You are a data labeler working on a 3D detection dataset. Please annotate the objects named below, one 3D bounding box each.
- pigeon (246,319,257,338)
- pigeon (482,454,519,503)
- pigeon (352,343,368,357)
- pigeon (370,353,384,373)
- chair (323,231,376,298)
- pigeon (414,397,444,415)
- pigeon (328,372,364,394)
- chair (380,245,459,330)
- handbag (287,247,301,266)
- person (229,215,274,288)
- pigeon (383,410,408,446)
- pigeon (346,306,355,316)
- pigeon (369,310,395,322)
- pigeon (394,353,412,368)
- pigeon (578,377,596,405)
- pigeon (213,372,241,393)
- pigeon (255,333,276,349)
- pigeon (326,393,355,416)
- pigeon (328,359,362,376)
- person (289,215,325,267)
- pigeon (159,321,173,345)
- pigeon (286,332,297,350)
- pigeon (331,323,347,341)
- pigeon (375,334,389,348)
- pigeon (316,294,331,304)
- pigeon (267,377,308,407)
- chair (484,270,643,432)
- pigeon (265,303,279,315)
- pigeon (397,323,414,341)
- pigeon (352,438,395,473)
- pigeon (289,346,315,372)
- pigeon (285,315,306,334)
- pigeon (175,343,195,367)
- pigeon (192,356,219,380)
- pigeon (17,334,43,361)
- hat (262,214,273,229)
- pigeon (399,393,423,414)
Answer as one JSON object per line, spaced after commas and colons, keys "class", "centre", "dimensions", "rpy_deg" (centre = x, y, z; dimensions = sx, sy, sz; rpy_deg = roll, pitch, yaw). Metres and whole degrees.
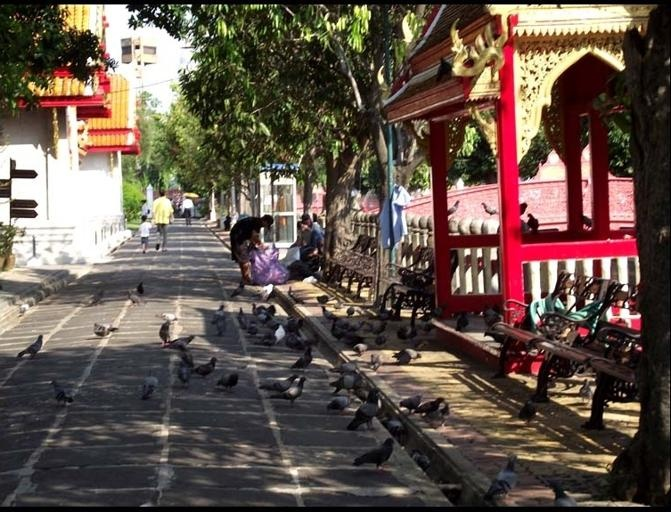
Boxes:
{"class": "pigeon", "centre": [-1.567, 1.385, 12.143], "dimensions": [0.213, 0.238, 0.405], "rpy_deg": [2, 2, -7]}
{"class": "pigeon", "centre": [1.212, 1.630, 4.676], "dimensions": [0.162, 0.291, 0.359], "rpy_deg": [4, 3, 43]}
{"class": "pigeon", "centre": [0.393, 1.431, 10.025], "dimensions": [0.196, 0.189, 0.476], "rpy_deg": [2, 2, 7]}
{"class": "pigeon", "centre": [0.616, 1.485, 8.992], "dimensions": [0.145, 0.267, 0.224], "rpy_deg": [1, -9, 7]}
{"class": "chair", "centre": [0.356, 0.272, 17.669], "dimensions": [0.560, 0.720, 1.776], "rpy_deg": [-1, 3, -16]}
{"class": "pigeon", "centre": [0.959, 1.563, 6.754], "dimensions": [0.312, 0.227, 0.135], "rpy_deg": [8, 1, 0]}
{"class": "pigeon", "centre": [0.132, 1.606, 8.056], "dimensions": [0.255, 0.201, 0.477], "rpy_deg": [-1, -10, -31]}
{"class": "chair", "centre": [1.726, 0.552, 12.424], "dimensions": [1.185, 1.451, 1.347], "rpy_deg": [-1, 11, -16]}
{"class": "handbag", "centre": [-1.391, 0.007, 21.432], "dimensions": [0.404, 0.602, 0.625], "rpy_deg": [2, 2, -2]}
{"class": "person", "centre": [-2.514, -0.140, 18.783], "dimensions": [1.212, 2.073, 0.994], "rpy_deg": [0, 0, -10]}
{"class": "pigeon", "centre": [0.642, 1.768, 6.676], "dimensions": [0.333, 0.109, 0.198], "rpy_deg": [10, 2, 9]}
{"class": "pigeon", "centre": [0.301, 1.115, 13.005], "dimensions": [0.154, 0.126, 0.172], "rpy_deg": [-4, -8, 23]}
{"class": "pigeon", "centre": [0.921, 1.199, 12.858], "dimensions": [0.169, 0.210, 0.525], "rpy_deg": [6, -7, -37]}
{"class": "pigeon", "centre": [0.972, 1.449, 9.161], "dimensions": [0.210, 0.227, 0.312], "rpy_deg": [2, 2, 6]}
{"class": "pigeon", "centre": [2.778, 1.500, 7.126], "dimensions": [0.119, 0.328, 0.238], "rpy_deg": [-1, 9, 8]}
{"class": "pigeon", "centre": [-1.338, 1.597, 8.213], "dimensions": [0.151, 0.268, 0.495], "rpy_deg": [6, -4, -34]}
{"class": "pigeon", "centre": [-1.200, 1.459, 11.279], "dimensions": [0.270, 0.269, 0.525], "rpy_deg": [1, 2, -32]}
{"class": "pigeon", "centre": [0.106, 1.652, 7.375], "dimensions": [0.400, 0.291, 0.193], "rpy_deg": [-5, 25, -17]}
{"class": "pigeon", "centre": [0.104, 1.508, 8.789], "dimensions": [0.577, 0.284, 0.184], "rpy_deg": [-2, -7, 37]}
{"class": "person", "centre": [-0.717, -0.527, 21.674], "dimensions": [1.014, 1.591, 1.034], "rpy_deg": [-4, 12, -44]}
{"class": "pigeon", "centre": [-2.873, 1.323, 10.966], "dimensions": [0.240, 0.472, 0.200], "rpy_deg": [-6, 26, -23]}
{"class": "pigeon", "centre": [-0.695, 1.436, 10.857], "dimensions": [0.120, 0.262, 0.195], "rpy_deg": [-14, -3, -22]}
{"class": "pigeon", "centre": [0.063, 1.292, 10.871], "dimensions": [0.188, 0.179, 0.255], "rpy_deg": [-5, -25, 25]}
{"class": "pigeon", "centre": [0.755, 1.376, 10.411], "dimensions": [0.238, 0.187, 0.144], "rpy_deg": [10, -3, -31]}
{"class": "pigeon", "centre": [-0.259, 1.024, 15.008], "dimensions": [0.307, 0.253, 0.485], "rpy_deg": [2, 2, 1]}
{"class": "pigeon", "centre": [-0.563, 1.637, 7.791], "dimensions": [0.340, 0.313, 0.736], "rpy_deg": [2, 2, 4]}
{"class": "chair", "centre": [2.764, 0.915, 7.044], "dimensions": [1.340, 1.513, 1.601], "rpy_deg": [2, 10, -11]}
{"class": "pigeon", "centre": [-1.320, 1.117, 13.319], "dimensions": [0.201, 0.175, 0.333], "rpy_deg": [3, -5, -10]}
{"class": "pigeon", "centre": [1.141, 1.254, 10.507], "dimensions": [0.263, 0.220, 0.118], "rpy_deg": [-12, -23, 36]}
{"class": "pigeon", "centre": [0.320, 1.733, 5.613], "dimensions": [0.324, 0.288, 0.411], "rpy_deg": [2, 2, 3]}
{"class": "pigeon", "centre": [-0.479, 1.483, 9.353], "dimensions": [0.406, 0.403, 0.230], "rpy_deg": [-15, -12, 15]}
{"class": "pigeon", "centre": [-0.747, 1.267, 11.855], "dimensions": [0.404, 0.411, 0.274], "rpy_deg": [-8, -4, 5]}
{"class": "pigeon", "centre": [-2.122, 1.418, 9.039], "dimensions": [0.208, 0.289, 0.678], "rpy_deg": [-4, 14, -14]}
{"class": "pigeon", "centre": [-1.793, 1.548, 8.870], "dimensions": [0.272, 0.295, 0.497], "rpy_deg": [2, 2, -5]}
{"class": "pigeon", "centre": [-4.869, 1.447, 10.261], "dimensions": [0.343, 0.359, 0.785], "rpy_deg": [1, 2, -27]}
{"class": "hat", "centre": [-1.801, -0.932, 17.256], "dimensions": [0.302, 0.390, 0.385], "rpy_deg": [1, -5, -6]}
{"class": "pigeon", "centre": [0.803, 1.598, 6.962], "dimensions": [0.270, 0.166, 0.130], "rpy_deg": [-20, -47, 34]}
